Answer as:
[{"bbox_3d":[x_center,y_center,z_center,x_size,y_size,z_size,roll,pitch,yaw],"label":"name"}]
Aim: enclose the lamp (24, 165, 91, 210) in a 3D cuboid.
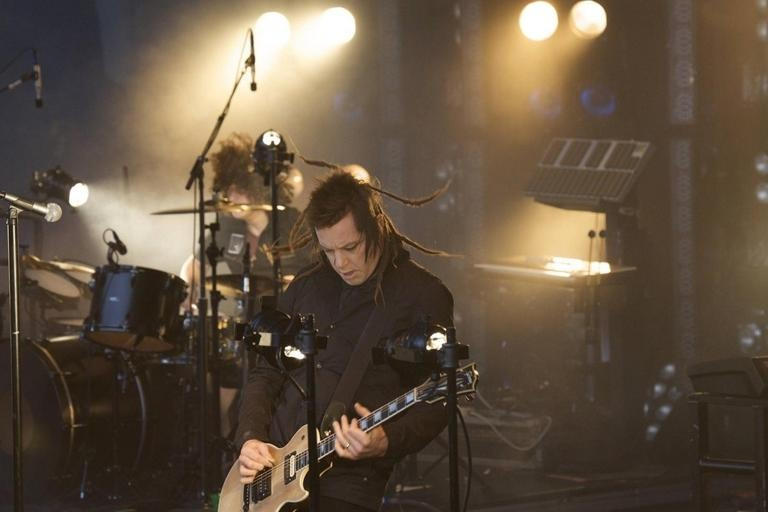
[{"bbox_3d":[-3.065,-0.647,9.030,0.527,0.374,0.245,16,-4,-3],"label":"lamp"}]
